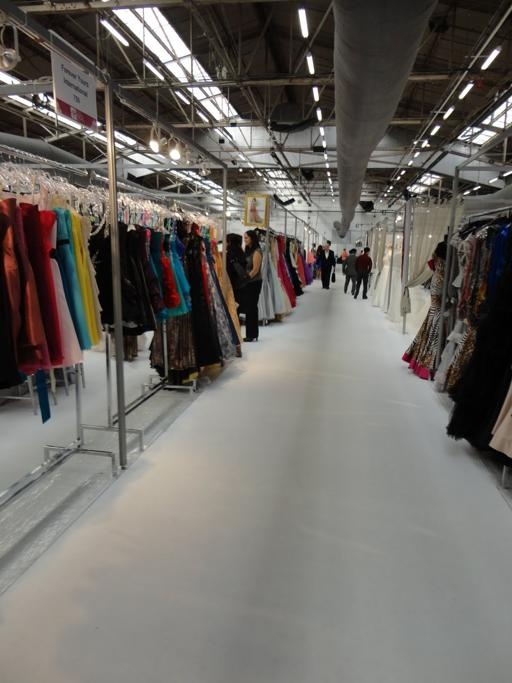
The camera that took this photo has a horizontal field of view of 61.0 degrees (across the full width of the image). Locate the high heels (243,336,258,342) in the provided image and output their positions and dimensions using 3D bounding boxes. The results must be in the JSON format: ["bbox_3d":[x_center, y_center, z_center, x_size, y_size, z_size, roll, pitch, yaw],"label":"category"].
[{"bbox_3d":[-0.049,-0.040,6.324,0.186,0.076,0.069,1,6,-15],"label":"high heels"}]

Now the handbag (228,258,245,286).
[{"bbox_3d":[-0.214,-0.830,5.174,0.214,0.277,0.195,-4,13,-22],"label":"handbag"}]
